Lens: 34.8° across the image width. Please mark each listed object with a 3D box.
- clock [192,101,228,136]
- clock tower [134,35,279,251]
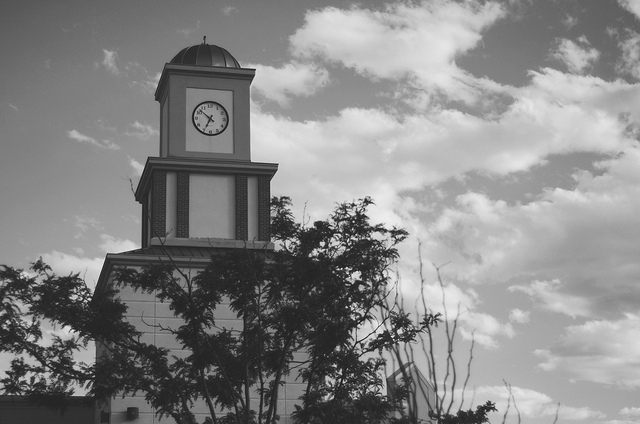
[{"bbox_3d":[-5.002,-4.139,46.371,1.650,1.601,0.189,1,-13,-12],"label":"clock"},{"bbox_3d":[-5.424,-2.944,47.725,6.142,9.778,5.978,2,-9,-14],"label":"clock tower"}]
